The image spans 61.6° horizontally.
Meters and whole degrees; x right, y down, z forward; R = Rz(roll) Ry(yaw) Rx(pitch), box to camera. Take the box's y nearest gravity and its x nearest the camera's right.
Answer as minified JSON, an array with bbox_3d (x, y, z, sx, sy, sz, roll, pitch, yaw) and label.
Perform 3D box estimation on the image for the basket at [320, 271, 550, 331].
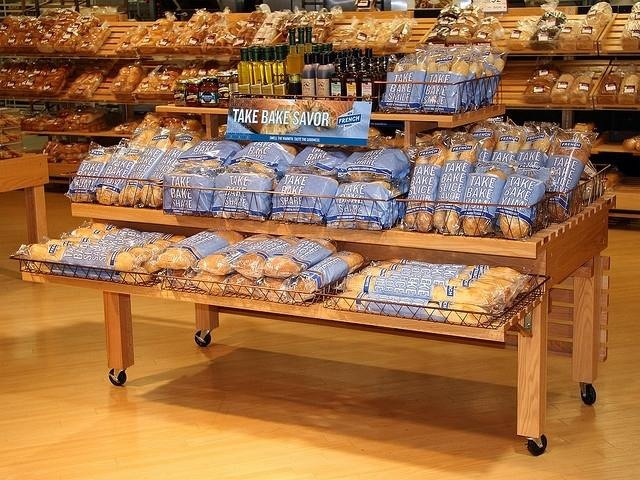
[{"bbox_3d":[0.425,0.224,2.070,0.605,0.064,0.308,4,18,20],"label":"basket"}]

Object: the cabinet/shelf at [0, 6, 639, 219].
[{"bbox_3d":[0.147,-1.083,4.173,4.883,0.707,1.701,3,12,19],"label":"cabinet/shelf"}]
